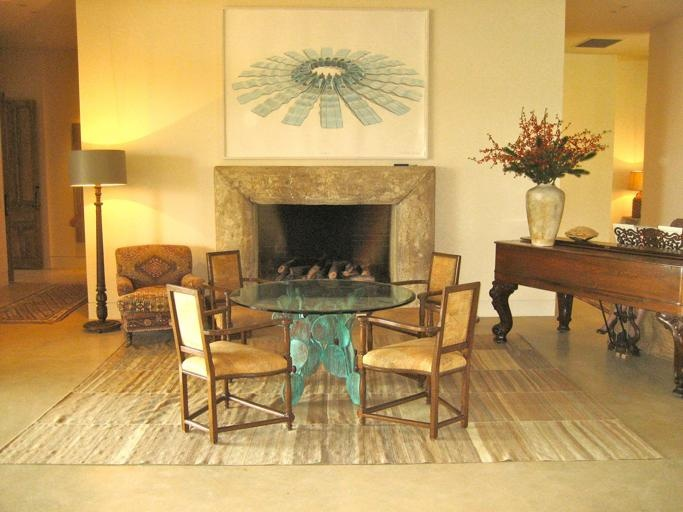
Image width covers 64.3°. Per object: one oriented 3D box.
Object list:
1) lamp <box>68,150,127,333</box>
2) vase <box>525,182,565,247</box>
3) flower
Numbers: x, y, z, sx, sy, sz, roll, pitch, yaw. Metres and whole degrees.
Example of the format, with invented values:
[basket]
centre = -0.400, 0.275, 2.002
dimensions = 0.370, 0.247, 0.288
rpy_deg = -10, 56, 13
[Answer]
[lamp]
centre = -2.687, -0.181, 6.180
dimensions = 0.590, 2.047, 0.554
rpy_deg = -4, 10, -18
[vase]
centre = 1.891, -0.391, 5.143
dimensions = 0.326, 0.587, 0.276
rpy_deg = 5, 11, 32
[flower]
centre = 2.147, -1.095, 5.667
dimensions = 1.401, 0.759, 1.593
rpy_deg = 10, 17, 44
